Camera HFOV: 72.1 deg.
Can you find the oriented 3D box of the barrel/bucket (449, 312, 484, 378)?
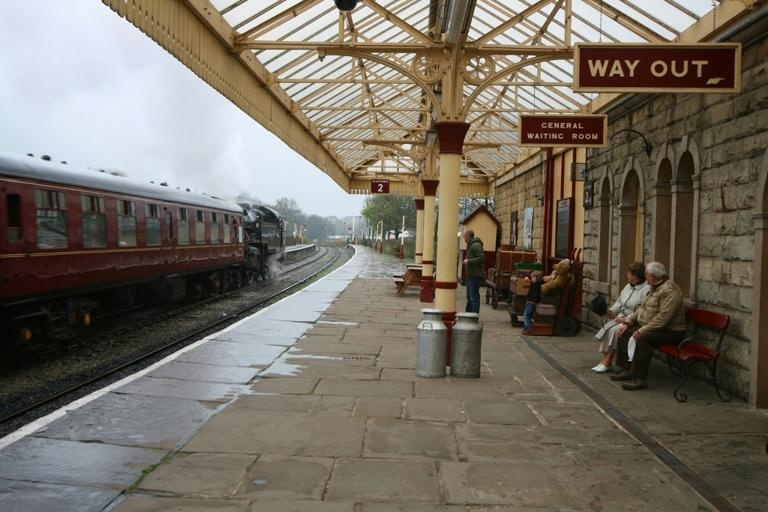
[{"bbox_3d":[1.314,1.410,8.290,0.473,1.001,0.271,1,4,4],"label":"barrel/bucket"}]

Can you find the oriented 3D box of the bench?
[{"bbox_3d":[4.649,1.458,8.192,0.771,1.144,2.022,-2,-3,14],"label":"bench"}]

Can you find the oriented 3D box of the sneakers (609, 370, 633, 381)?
[{"bbox_3d":[3.635,1.867,8.153,0.359,0.157,0.124,1,-3,9],"label":"sneakers"}]

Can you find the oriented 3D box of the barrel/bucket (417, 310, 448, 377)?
[{"bbox_3d":[0.779,1.374,8.245,0.463,1.057,0.234,1,4,0],"label":"barrel/bucket"}]

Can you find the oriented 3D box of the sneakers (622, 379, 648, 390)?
[{"bbox_3d":[3.735,1.925,7.840,0.415,0.176,0.141,1,-1,-8],"label":"sneakers"}]

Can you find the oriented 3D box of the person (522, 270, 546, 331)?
[{"bbox_3d":[3.286,1.024,11.513,0.395,1.406,0.527,2,4,16],"label":"person"}]

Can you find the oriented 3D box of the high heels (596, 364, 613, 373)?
[{"bbox_3d":[3.587,1.857,8.641,0.217,0.086,0.126,2,-3,-10],"label":"high heels"}]

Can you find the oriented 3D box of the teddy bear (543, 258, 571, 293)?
[{"bbox_3d":[3.729,0.406,11.534,0.521,0.774,0.635,0,21,-6],"label":"teddy bear"}]

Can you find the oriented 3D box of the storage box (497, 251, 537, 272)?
[{"bbox_3d":[3.822,0.194,15.194,1.063,0.590,0.389,0,4,-4],"label":"storage box"}]
